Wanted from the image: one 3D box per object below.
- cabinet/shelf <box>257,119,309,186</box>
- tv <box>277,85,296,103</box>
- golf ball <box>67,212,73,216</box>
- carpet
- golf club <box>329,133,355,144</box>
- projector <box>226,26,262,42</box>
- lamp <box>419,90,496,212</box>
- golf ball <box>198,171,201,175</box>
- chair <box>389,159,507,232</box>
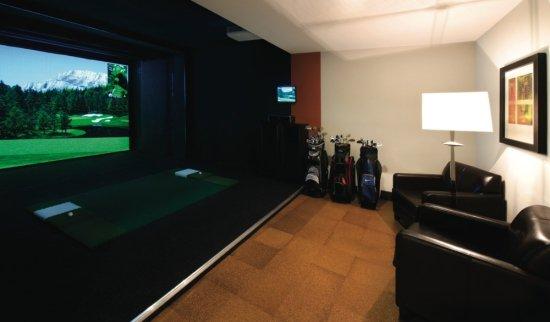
[{"bbox_3d":[0.220,-0.182,7.192,1.358,1.686,0.629,7,13,30],"label":"cabinet/shelf"},{"bbox_3d":[0.280,-1.554,7.386,0.442,0.347,0.060,2,4,27],"label":"tv"},{"bbox_3d":[-3.325,0.858,5.188,0.064,0.055,0.054,-8,13,-38],"label":"golf ball"},{"bbox_3d":[-2.543,0.765,5.972,1.599,0.493,2.978,8,15,34],"label":"carpet"},{"bbox_3d":[1.423,-0.460,6.778,0.373,0.129,0.268,-1,6,29],"label":"golf club"},{"bbox_3d":[-0.645,-2.716,6.767,0.721,0.260,0.461,10,16,41],"label":"projector"},{"bbox_3d":[2.756,-0.049,4.939,0.918,2.232,0.431,4,36,33],"label":"lamp"},{"bbox_3d":[-1.761,0.281,7.485,0.071,0.073,0.068,-2,11,0],"label":"golf ball"},{"bbox_3d":[2.742,0.458,5.400,1.198,1.167,1.579,1,2,2],"label":"chair"}]
